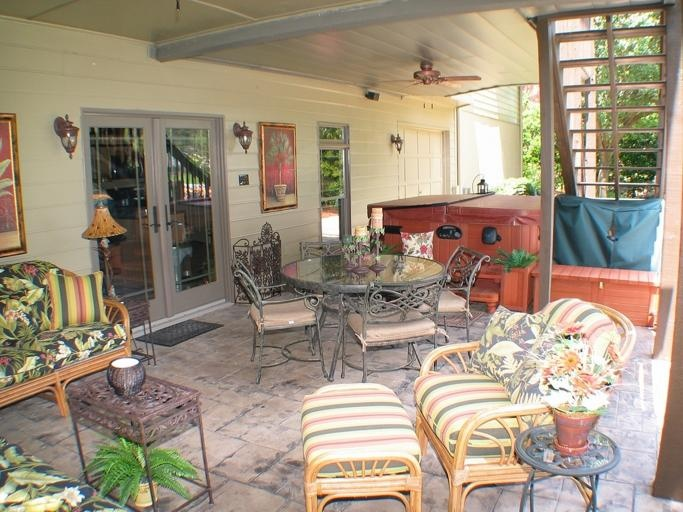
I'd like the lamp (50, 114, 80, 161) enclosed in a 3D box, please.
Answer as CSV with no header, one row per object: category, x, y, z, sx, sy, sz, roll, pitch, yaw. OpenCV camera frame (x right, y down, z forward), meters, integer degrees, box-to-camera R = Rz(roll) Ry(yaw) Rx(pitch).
lamp,-2.834,-1.255,4.906,0.158,0.457,0.248,-1,12,21

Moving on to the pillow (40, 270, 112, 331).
pillow,-2.522,0.427,4.397,0.582,0.515,0.198,-3,-18,-35

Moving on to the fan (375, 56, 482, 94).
fan,1.397,-2.903,7.470,1.193,0.304,1.237,-1,4,37

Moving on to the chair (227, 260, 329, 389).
chair,-0.566,0.620,4.742,0.972,0.997,0.839,0,6,8

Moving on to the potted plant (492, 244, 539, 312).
potted plant,2.364,0.281,6.283,0.761,0.768,0.649,15,-9,3

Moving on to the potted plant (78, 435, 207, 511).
potted plant,-1.201,1.297,2.895,0.570,0.247,0.567,2,-4,33

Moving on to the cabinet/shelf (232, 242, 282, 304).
cabinet/shelf,-1.389,0.161,7.252,0.430,0.968,1.087,-9,1,-8

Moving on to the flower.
flower,1.270,0.470,2.333,0.231,0.380,0.345,22,-35,-7

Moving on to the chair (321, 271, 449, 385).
chair,0.399,0.662,4.630,1.179,1.371,1.019,-3,15,-12

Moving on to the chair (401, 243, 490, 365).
chair,1.078,0.409,5.010,0.966,0.920,0.822,4,17,8

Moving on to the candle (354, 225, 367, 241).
candle,0.218,-0.236,4.695,0.146,0.125,0.135,-2,8,-17

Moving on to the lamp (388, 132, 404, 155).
lamp,1.300,-2.564,10.617,0.181,0.431,0.660,0,11,24

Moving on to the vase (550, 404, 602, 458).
vase,1.146,0.871,2.344,0.203,0.215,0.225,-2,-9,40

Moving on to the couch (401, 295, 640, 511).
couch,1.129,0.641,3.068,1.605,1.325,1.107,-2,18,-5

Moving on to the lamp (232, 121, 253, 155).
lamp,-1.396,-1.731,6.851,0.202,0.444,0.359,-1,11,19

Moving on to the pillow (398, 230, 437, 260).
pillow,1.018,-0.148,6.109,0.530,0.473,0.196,1,1,8
